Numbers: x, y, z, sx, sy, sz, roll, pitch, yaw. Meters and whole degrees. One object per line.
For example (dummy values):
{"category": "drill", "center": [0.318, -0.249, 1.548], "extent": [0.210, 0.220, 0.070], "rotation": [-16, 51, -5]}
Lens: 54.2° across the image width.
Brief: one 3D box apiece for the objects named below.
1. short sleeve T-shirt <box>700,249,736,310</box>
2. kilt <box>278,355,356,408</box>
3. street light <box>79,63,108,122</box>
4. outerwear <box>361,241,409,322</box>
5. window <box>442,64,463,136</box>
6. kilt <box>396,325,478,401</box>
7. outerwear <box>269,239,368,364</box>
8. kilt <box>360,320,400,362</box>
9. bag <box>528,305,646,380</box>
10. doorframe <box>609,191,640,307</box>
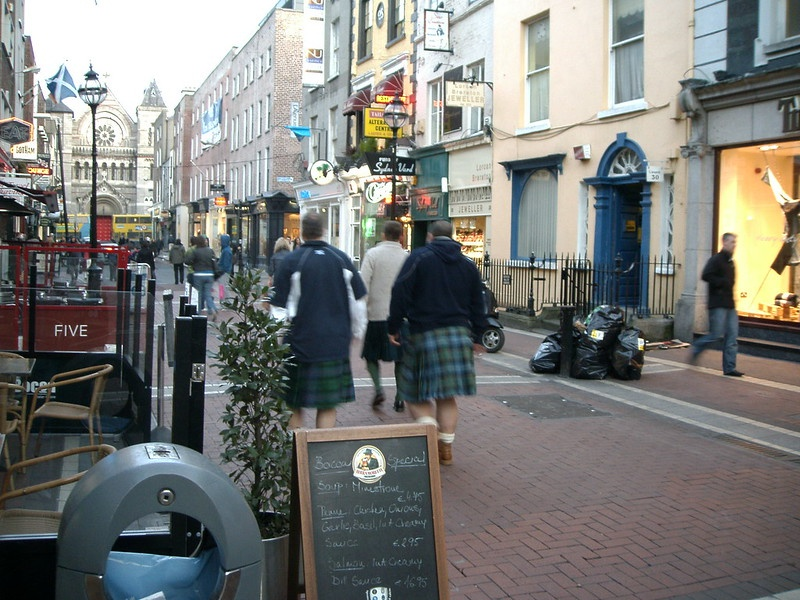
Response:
{"category": "short sleeve T-shirt", "center": [4.670, -0.293, 11.379], "extent": [0.482, 0.890, 0.282], "rotation": [6, 8, 20]}
{"category": "kilt", "center": [-0.654, 0.714, 6.698], "extent": [0.576, 0.443, 0.376], "rotation": [-9, -14, 10]}
{"category": "street light", "center": [-7.321, -5.019, 18.674], "extent": [0.612, 1.128, 0.649], "rotation": [12, 18, 32]}
{"category": "outerwear", "center": [-0.122, -0.188, 8.715], "extent": [0.625, 0.914, 0.274], "rotation": [5, -15, 6]}
{"category": "window", "center": [1.515, -5.413, 21.634], "extent": [0.757, 1.446, 0.045], "rotation": [-17, 26, -41]}
{"category": "kilt", "center": [0.371, 0.608, 7.311], "extent": [0.714, 0.728, 0.448], "rotation": [-11, -22, 7]}
{"category": "outerwear", "center": [-0.676, -0.014, 6.714], "extent": [0.873, 0.998, 0.380], "rotation": [1, 6, -14]}
{"category": "kilt", "center": [-0.235, 0.487, 8.820], "extent": [0.548, 0.603, 0.393], "rotation": [0, -2, -9]}
{"category": "bag", "center": [2.849, 0.553, 11.598], "extent": [1.328, 0.919, 1.027], "rotation": [-3, 1, 8]}
{"category": "doorframe", "center": [4.797, -1.147, 16.421], "extent": [0.757, 2.387, 0.217], "rotation": [-1, 4, -15]}
